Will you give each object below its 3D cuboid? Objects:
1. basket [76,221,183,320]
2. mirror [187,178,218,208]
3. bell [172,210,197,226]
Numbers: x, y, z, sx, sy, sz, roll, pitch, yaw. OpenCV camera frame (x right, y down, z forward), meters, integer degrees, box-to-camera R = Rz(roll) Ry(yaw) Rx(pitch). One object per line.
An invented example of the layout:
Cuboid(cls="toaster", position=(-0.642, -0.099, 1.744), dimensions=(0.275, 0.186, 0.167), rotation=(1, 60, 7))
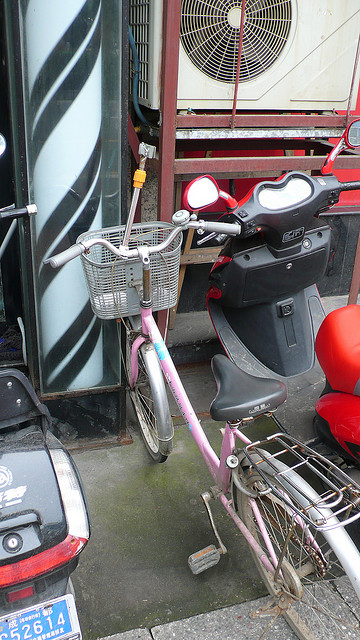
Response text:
Cuboid(cls="basket", position=(-0.271, -0.284, 2.206), dimensions=(0.461, 0.396, 0.276), rotation=(8, 14, 38))
Cuboid(cls="mirror", position=(0.090, -0.515, 1.759), dimensions=(0.169, 0.103, 0.039), rotation=(-21, 37, -39))
Cuboid(cls="bell", position=(0.015, -0.435, 1.897), dimensions=(0.098, 0.085, 0.100), rotation=(5, 30, -2))
